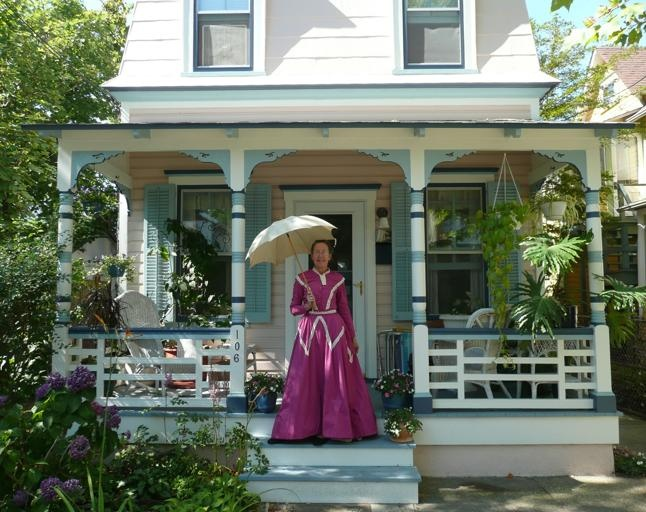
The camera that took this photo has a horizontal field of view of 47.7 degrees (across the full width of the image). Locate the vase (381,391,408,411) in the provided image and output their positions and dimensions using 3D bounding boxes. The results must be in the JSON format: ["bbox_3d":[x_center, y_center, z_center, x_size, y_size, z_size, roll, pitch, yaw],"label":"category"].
[{"bbox_3d":[0.931,1.873,9.445,0.260,0.179,0.239,-3,-8,22],"label":"vase"}]

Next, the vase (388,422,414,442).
[{"bbox_3d":[0.956,2.192,9.055,0.344,0.239,0.187,-2,-5,6],"label":"vase"}]

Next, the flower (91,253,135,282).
[{"bbox_3d":[-3.138,0.184,11.090,0.494,0.299,0.493,4,-7,-23],"label":"flower"}]

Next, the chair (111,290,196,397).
[{"bbox_3d":[-2.326,1.205,10.164,1.056,1.417,1.478,-1,-5,-11],"label":"chair"}]

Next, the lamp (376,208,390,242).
[{"bbox_3d":[0.936,-0.467,11.362,0.218,0.531,0.101,-2,-5,4],"label":"lamp"}]

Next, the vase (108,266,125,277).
[{"bbox_3d":[-3.075,0.237,10.894,0.162,0.129,0.172,-1,-9,8],"label":"vase"}]

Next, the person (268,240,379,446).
[{"bbox_3d":[-0.005,1.066,9.157,1.228,2.505,0.321,-2,-5,1],"label":"person"}]

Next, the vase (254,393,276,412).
[{"bbox_3d":[-0.747,1.905,9.407,0.222,0.214,0.253,2,-12,-4],"label":"vase"}]

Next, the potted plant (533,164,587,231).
[{"bbox_3d":[3.545,-0.866,10.910,0.673,1.016,1.338,-3,-5,19],"label":"potted plant"}]

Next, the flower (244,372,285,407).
[{"bbox_3d":[-0.765,1.794,9.620,0.470,0.468,0.492,-18,-25,31],"label":"flower"}]

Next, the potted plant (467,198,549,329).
[{"bbox_3d":[2.547,0.065,10.325,0.950,1.949,2.386,-3,-5,12],"label":"potted plant"}]

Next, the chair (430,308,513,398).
[{"bbox_3d":[2.104,1.339,10.446,0.802,1.205,0.862,-1,5,6],"label":"chair"}]

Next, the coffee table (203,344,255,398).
[{"bbox_3d":[-1.321,1.615,10.369,0.779,0.678,1.953,-1,-5,-6],"label":"coffee table"}]

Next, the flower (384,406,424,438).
[{"bbox_3d":[0.972,2.077,9.054,0.356,0.289,0.354,11,-17,-38],"label":"flower"}]
